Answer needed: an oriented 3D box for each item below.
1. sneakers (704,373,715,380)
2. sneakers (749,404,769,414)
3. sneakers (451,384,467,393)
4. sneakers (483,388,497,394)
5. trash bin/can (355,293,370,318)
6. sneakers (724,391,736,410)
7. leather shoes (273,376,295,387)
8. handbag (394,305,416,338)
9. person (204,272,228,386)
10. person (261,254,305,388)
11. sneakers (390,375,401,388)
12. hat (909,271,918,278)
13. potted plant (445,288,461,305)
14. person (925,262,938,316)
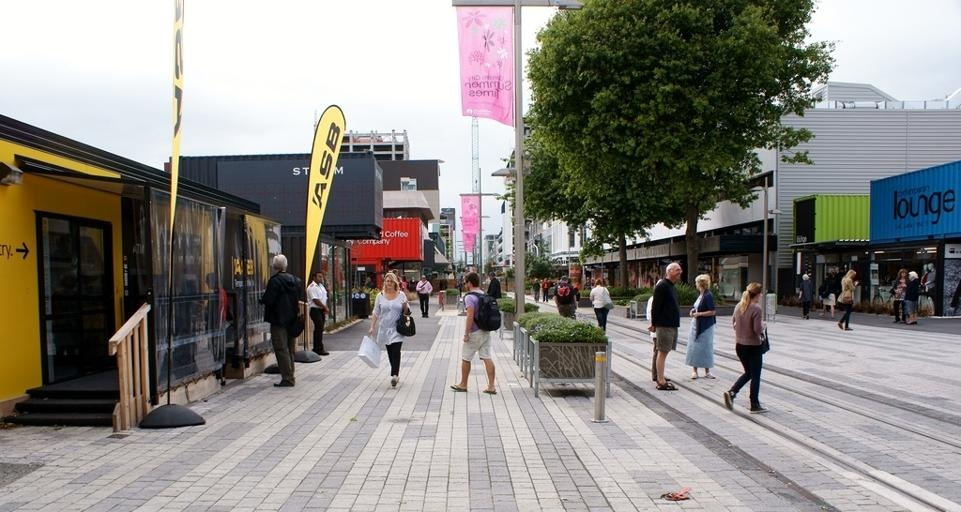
[{"bbox_3d":[6.861,3.625,22.541,0.375,0.159,0.136,0,5,-17],"label":"sneakers"},{"bbox_3d":[7.220,3.994,19.640,0.547,0.244,0.183,0,0,-32],"label":"sneakers"},{"bbox_3d":[-0.621,3.727,21.164,0.347,0.123,0.190,4,-2,-2],"label":"sneakers"},{"bbox_3d":[0.234,3.776,20.962,0.382,0.136,0.261,-3,-3,7],"label":"sneakers"},{"bbox_3d":[-6.000,2.463,37.539,1.002,1.292,1.381,-1,-2,4],"label":"trash bin/can"},{"bbox_3d":[6.503,3.857,19.830,0.232,0.547,0.200,-20,19,-8],"label":"sneakers"},{"bbox_3d":[-5.580,3.612,21.570,0.678,0.282,0.227,1,-4,15],"label":"leather shoes"},{"bbox_3d":[-2.065,1.861,21.604,0.528,0.803,0.680,-3,-3,29],"label":"handbag"},{"bbox_3d":[-7.379,2.100,21.229,0.310,3.220,0.982,-2,-2,-2],"label":"person"},{"bbox_3d":[-5.762,1.852,21.887,1.052,3.808,1.090,-2,-2,-16],"label":"person"},{"bbox_3d":[-2.470,3.612,21.619,0.145,0.178,0.433,2,-33,-3],"label":"sneakers"},{"bbox_3d":[18.567,0.809,32.500,0.281,0.267,0.227,16,19,43],"label":"hat"},{"bbox_3d":[-1.738,2.601,48.196,1.034,1.059,0.928,0,-2,-11],"label":"potted plant"},{"bbox_3d":[20.351,1.491,34.208,0.491,2.060,0.447,-3,-2,24],"label":"person"}]
